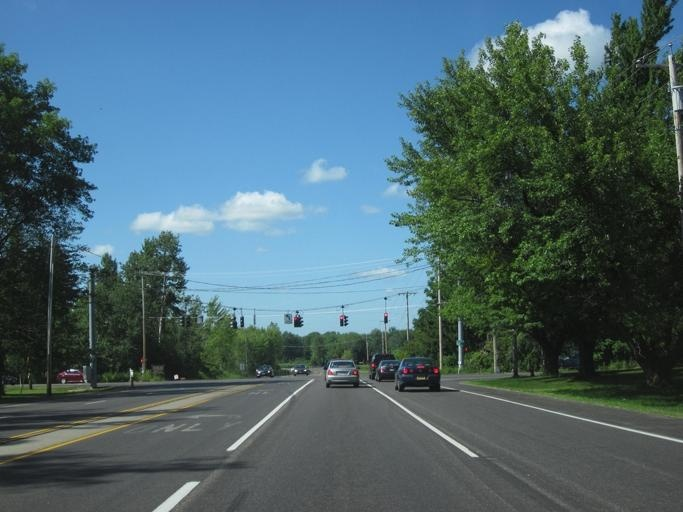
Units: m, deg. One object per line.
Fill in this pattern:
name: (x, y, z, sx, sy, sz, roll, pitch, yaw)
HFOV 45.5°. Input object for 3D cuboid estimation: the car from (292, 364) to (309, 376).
car: (-5.310, 14.193, 100.859, 1.860, 0.986, 1.107, 1, -3, 43)

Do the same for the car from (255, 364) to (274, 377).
car: (-8.640, 12.983, 91.315, 1.571, 1.369, 2.189, 2, -14, -20)
